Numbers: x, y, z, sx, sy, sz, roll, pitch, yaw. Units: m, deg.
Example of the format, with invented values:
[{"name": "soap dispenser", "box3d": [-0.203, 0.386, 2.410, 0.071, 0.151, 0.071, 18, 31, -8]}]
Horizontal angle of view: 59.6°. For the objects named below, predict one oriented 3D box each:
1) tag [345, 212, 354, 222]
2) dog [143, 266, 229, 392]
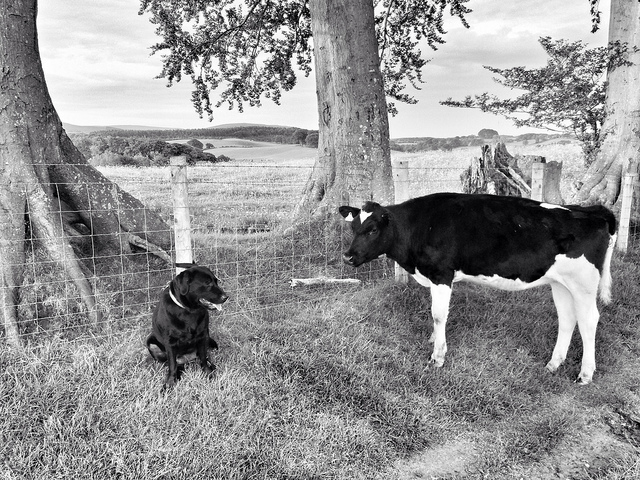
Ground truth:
[{"name": "tag", "box3d": [0.444, -0.368, 8.379, 0.112, 0.101, 0.208, -1, 3, 6]}, {"name": "dog", "box3d": [-1.649, 1.027, 6.878, 0.976, 1.457, 0.596, -2, 13, -11]}]
